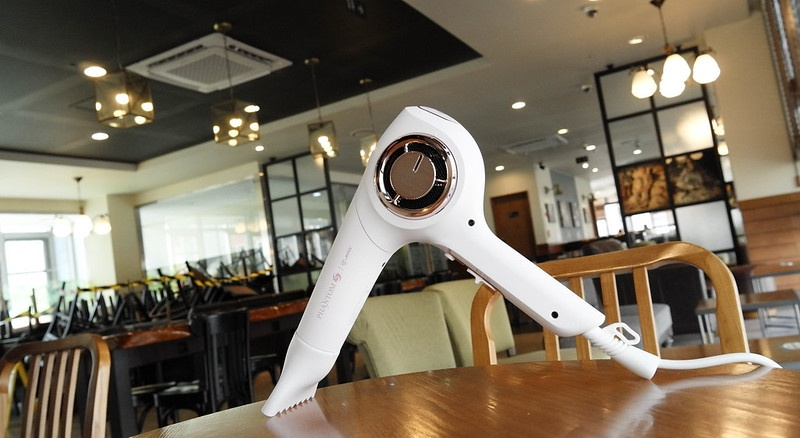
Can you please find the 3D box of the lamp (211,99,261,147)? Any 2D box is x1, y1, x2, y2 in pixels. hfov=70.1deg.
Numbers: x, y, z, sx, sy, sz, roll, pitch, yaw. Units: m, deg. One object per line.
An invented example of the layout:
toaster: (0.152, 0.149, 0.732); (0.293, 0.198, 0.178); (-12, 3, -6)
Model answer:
lamp: (-2.218, -1.312, 7.748); (0.648, 0.585, 0.596); (3, 13, -17)

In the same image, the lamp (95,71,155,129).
lamp: (-3.403, -1.541, 7.244); (0.723, 0.656, 0.728); (-8, -4, 42)

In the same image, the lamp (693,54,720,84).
lamp: (3.905, -1.947, 7.284); (0.297, 0.361, 0.175); (-5, 8, 14)
